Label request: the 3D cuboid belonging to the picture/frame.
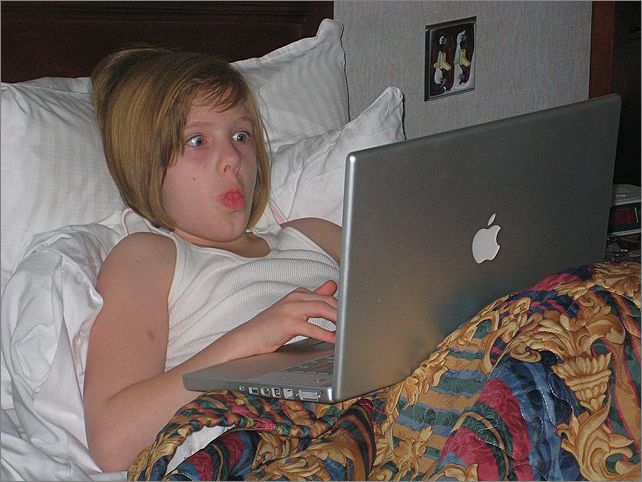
[{"bbox_3d":[0.495,-0.721,2.142,0.278,0.310,0.040,-15,28,-21],"label":"picture/frame"}]
